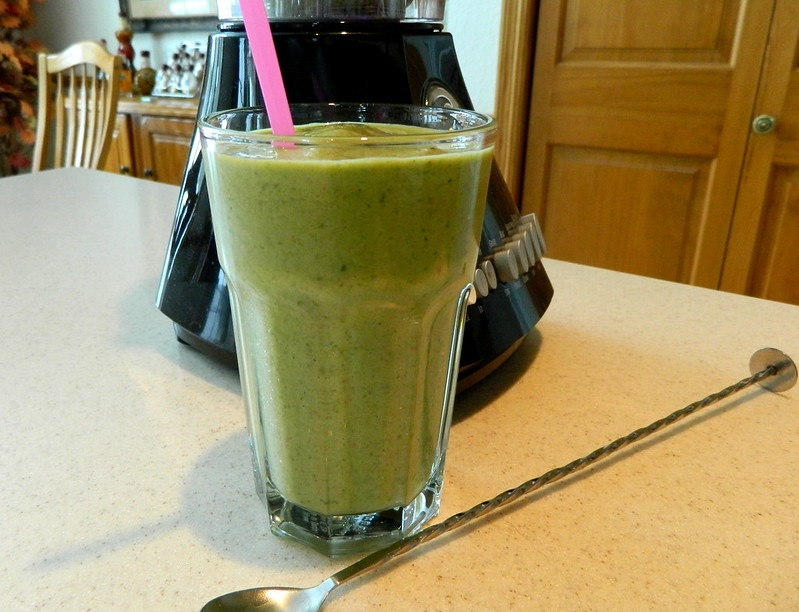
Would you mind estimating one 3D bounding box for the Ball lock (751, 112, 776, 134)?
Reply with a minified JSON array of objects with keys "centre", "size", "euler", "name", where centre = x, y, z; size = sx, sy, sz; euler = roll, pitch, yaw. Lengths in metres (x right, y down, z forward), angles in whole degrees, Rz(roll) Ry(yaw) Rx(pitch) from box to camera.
[{"centre":[1.010,-0.504,1.762],"size":[0.060,0.053,0.023],"euler":[11,23,20],"name":"Ball lock"}]
